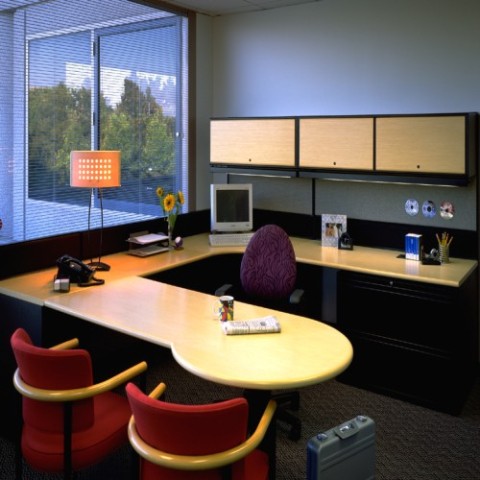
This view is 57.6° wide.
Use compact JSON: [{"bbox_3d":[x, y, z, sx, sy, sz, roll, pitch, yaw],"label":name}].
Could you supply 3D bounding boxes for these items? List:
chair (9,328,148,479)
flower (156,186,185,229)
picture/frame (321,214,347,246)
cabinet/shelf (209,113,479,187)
[{"bbox_3d":[-0.680,0.631,1.851,0.493,0.524,0.366,-7,13,-33],"label":"chair"},{"bbox_3d":[-0.664,-0.320,4.054,0.218,0.371,0.658,-1,13,-11],"label":"flower"},{"bbox_3d":[0.815,-0.086,3.773,0.202,0.346,0.027,1,3,21],"label":"picture/frame"},{"bbox_3d":[0.710,-0.739,3.494,2.029,0.513,0.217,8,13,27],"label":"cabinet/shelf"}]
